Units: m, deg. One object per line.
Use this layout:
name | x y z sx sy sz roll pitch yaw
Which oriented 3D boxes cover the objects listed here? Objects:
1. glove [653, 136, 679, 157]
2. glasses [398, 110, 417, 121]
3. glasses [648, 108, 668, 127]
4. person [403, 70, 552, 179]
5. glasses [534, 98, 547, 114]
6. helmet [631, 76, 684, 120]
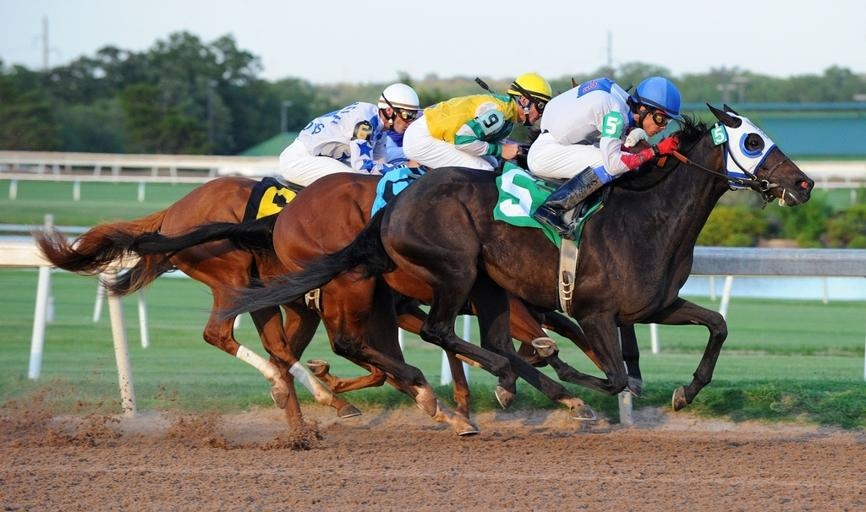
glove | 1.995 -0.941 11.584 0.215 0.169 0.101 0 4 -5
glasses | -0.236 -1.292 12.380 0.144 0.048 0.149 1 4 -9
glasses | 1.952 -1.196 11.707 0.122 0.055 0.145 9 26 -37
person | 0.352 -0.943 12.340 1.347 1.457 0.622 -1 29 -15
glasses | 0.959 -1.344 12.136 0.118 0.105 0.088 6 10 -4
helmet | 1.926 -1.385 11.770 0.359 0.254 0.411 8 27 -39
